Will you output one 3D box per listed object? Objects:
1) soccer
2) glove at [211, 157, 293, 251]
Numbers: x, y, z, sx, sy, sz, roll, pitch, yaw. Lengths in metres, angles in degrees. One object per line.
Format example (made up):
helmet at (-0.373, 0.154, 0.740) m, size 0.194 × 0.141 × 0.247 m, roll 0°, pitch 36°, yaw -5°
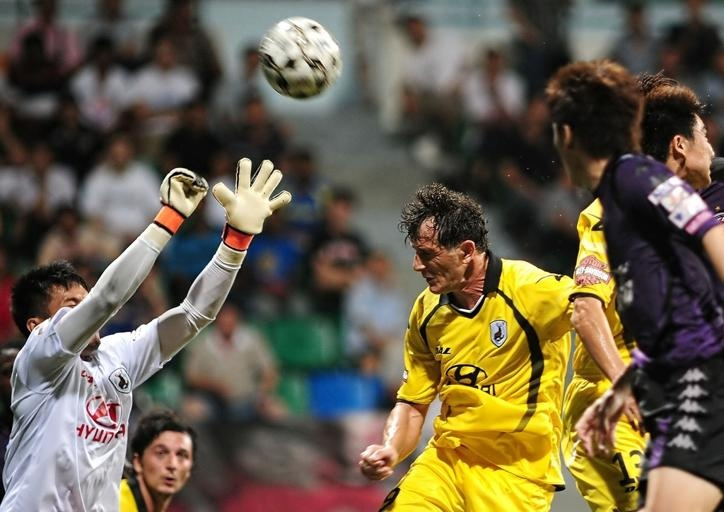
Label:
soccer at (-0.487, -1.576, 9.854) m, size 0.548 × 0.618 × 0.591 m, roll 8°, pitch -25°, yaw -22°
glove at (-1.000, -0.420, 11.108) m, size 0.683 × 0.961 × 0.194 m, roll 34°, pitch -35°, yaw -21°
